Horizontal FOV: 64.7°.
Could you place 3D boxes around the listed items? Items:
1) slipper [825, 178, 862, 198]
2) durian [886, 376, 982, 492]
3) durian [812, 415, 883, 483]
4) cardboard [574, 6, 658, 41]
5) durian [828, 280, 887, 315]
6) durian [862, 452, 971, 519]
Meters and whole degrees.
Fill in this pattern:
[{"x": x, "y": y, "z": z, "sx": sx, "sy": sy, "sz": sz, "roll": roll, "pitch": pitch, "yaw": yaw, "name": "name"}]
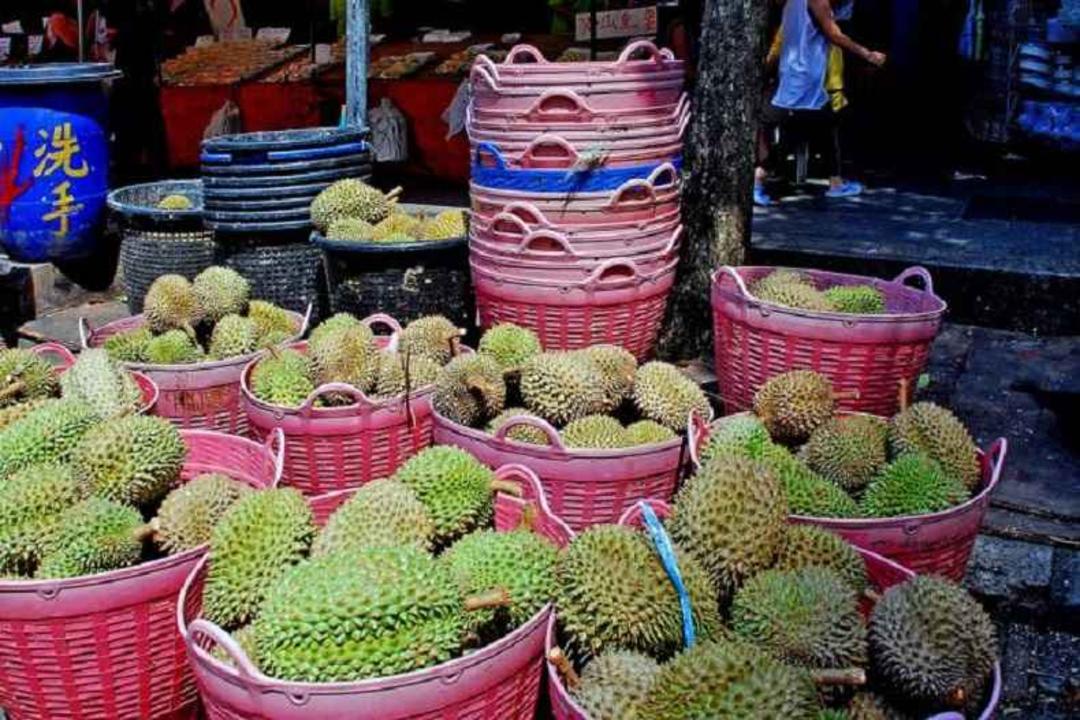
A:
[{"x": 2.933, "y": -1.685, "z": 8.232, "sx": 0.381, "sy": 0.171, "sz": 0.176, "roll": -9, "pitch": 14, "yaw": -21, "name": "slipper"}, {"x": 1.825, "y": 0.386, "z": 4.054, "sx": 0.284, "sy": 0.264, "sz": 0.466, "roll": -24, "pitch": 54, "yaw": 3, "name": "durian"}, {"x": 1.452, "y": 0.407, "z": 4.026, "sx": 0.256, "sy": 0.280, "sz": 0.325, "roll": -6, "pitch": 27, "yaw": 49, "name": "durian"}, {"x": 0.648, "y": -2.903, "z": 7.316, "sx": 0.675, "sy": 0.277, "sz": 0.542, "roll": -1, "pitch": 23, "yaw": -5, "name": "cardboard"}, {"x": 1.749, "y": -0.333, "z": 4.704, "sx": 0.194, "sy": 0.139, "sz": 0.241, "roll": 8, "pitch": 7, "yaw": 2, "name": "durian"}, {"x": 1.614, "y": 0.566, "z": 3.718, "sx": 0.308, "sy": 0.231, "sz": 0.320, "roll": -1, "pitch": 0, "yaw": 38, "name": "durian"}]
